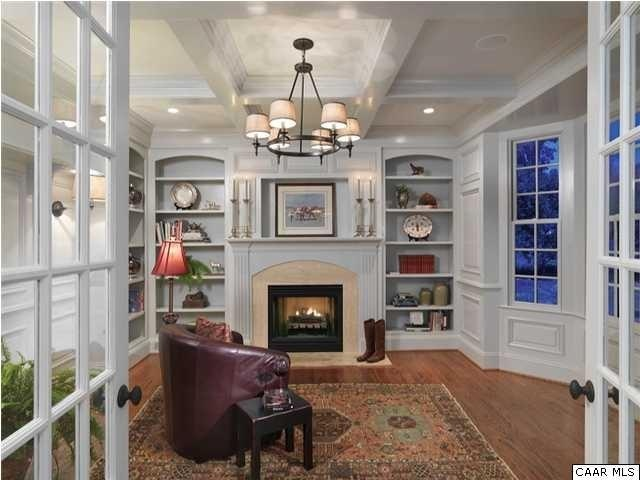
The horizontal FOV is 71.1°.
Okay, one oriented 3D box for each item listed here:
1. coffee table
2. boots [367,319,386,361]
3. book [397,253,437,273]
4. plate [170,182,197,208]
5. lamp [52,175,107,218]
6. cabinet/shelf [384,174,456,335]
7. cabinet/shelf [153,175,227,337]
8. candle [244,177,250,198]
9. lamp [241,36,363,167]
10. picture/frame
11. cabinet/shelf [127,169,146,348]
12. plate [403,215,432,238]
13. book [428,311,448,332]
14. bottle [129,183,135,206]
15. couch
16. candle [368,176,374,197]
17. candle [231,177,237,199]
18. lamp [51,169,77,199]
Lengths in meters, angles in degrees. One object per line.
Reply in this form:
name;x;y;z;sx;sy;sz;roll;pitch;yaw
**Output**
coffee table;-0.265;1.148;2.920;0.569;0.563;0.438;3;-9;-28
boots;0.627;1.114;4.955;0.164;0.414;0.268;1;5;13
book;1.175;0.288;5.547;0.329;0.163;0.243;0;-4;1
plate;-1.650;-0.543;5.421;0.288;0.313;0.098;0;5;1
lamp;-0.817;-0.161;1.603;0.141;0.157;0.128;11;-8;-33
cabinet/shelf;1.227;0.593;5.564;0.825;1.985;0.261;0;8;18
cabinet/shelf;-1.566;-0.039;5.484;0.905;2.354;0.265;4;-38;-26
candle;-0.849;-0.608;5.237;0.061;0.220;0.068;-1;5;-10
lamp;-0.117;-1.086;3.409;0.829;0.818;0.909;0;1;13
picture/frame;-0.184;-0.358;5.419;0.653;0.618;0.047;0;0;-1
cabinet/shelf;-2.083;0.183;5.100;0.200;1.884;0.528;-2;5;-15
plate;1.210;-0.172;5.580;0.352;0.310;0.206;0;5;5
book;1.421;0.973;5.508;0.220;0.297;0.231;1;0;3
bottle;-2.124;-0.528;5.091;0.052;0.262;0.263;-2;5;-20
couch;-0.736;1.031;3.364;0.891;0.832;0.996;1;-1;-5
candle;0.606;-0.623;5.304;0.077;0.252;0.037;-2;5;-20
candle;-0.987;-0.607;5.232;0.063;0.250;0.101;-1;5;-12
lamp;-0.812;-0.179;1.430;0.073;0.107;0.111;-1;0;-9
